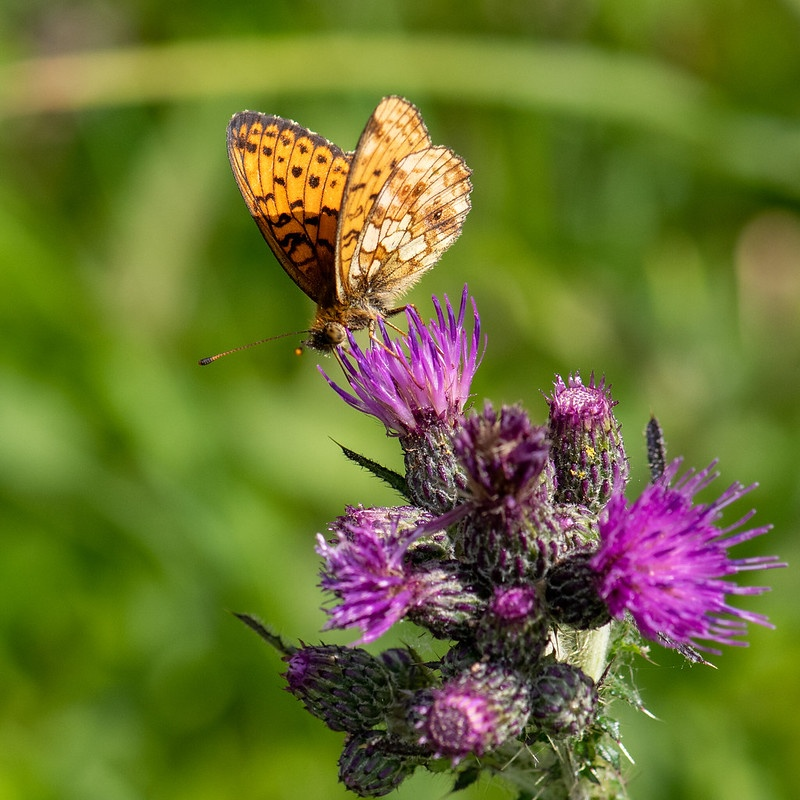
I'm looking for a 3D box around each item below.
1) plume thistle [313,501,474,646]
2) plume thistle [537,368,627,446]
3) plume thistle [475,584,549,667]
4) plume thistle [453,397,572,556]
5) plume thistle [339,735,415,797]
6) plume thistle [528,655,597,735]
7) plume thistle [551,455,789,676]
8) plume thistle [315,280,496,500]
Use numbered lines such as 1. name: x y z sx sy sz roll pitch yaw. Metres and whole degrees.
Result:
1. plume thistle: -0.048 0.740 4.261 0.545 0.583 0.428 -6 93 34
2. plume thistle: 0.842 0.144 4.816 0.376 0.446 0.442 -7 95 8
3. plume thistle: 0.444 0.933 4.261 0.248 0.321 0.327 8 67 6
4. plume thistle: 0.444 0.335 4.177 0.432 0.634 0.375 -2 54 3
5. plume thistle: -0.101 1.556 4.395 0.285 0.280 0.303 -1 90 -10
6. plume thistle: 0.653 1.186 4.165 0.211 0.272 0.266 3 89 -2
7. plume thistle: 1.046 0.630 4.158 0.831 0.522 0.687 18 59 15
8. plume thistle: 0.130 0.087 5.047 0.846 0.982 1.189 -4 84 -30
